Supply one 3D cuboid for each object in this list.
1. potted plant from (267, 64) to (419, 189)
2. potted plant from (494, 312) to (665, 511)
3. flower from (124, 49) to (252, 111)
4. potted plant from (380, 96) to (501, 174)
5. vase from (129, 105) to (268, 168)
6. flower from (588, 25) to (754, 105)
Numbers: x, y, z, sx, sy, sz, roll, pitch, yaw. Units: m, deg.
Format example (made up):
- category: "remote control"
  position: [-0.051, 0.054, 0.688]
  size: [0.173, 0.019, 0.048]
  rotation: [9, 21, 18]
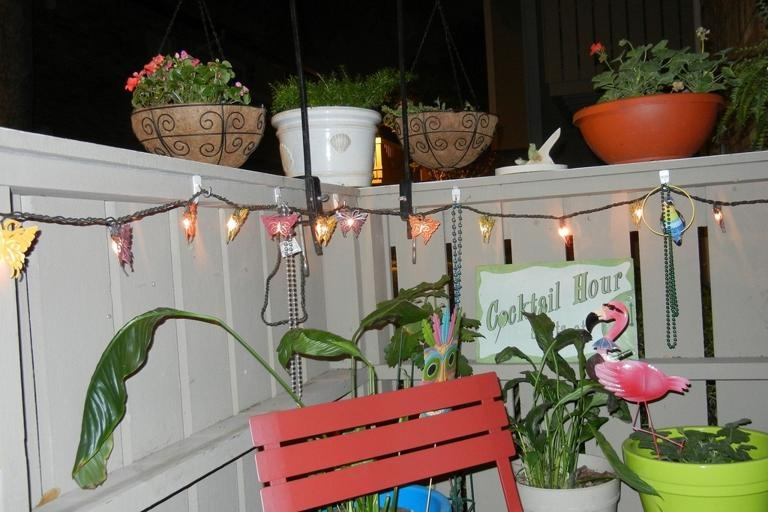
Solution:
- category: "potted plant"
  position: [-0.178, -0.493, 3.075]
  size: [0.453, 0.339, 0.463]
  rotation: [0, 0, 39]
- category: "potted plant"
  position: [0.751, 0.556, 3.234]
  size: [0.563, 0.986, 0.796]
  rotation: [-7, -11, 25]
- category: "flower"
  position: [-0.680, -0.600, 2.701]
  size: [0.402, 0.207, 0.252]
  rotation: [-5, 1, -15]
- category: "potted plant"
  position: [0.258, -0.482, 3.292]
  size: [0.468, 0.234, 0.458]
  rotation: [-8, 7, -40]
- category: "vase"
  position: [-0.648, -0.425, 2.852]
  size: [0.528, 0.234, 0.527]
  rotation: [-8, 10, -23]
- category: "flower"
  position: [1.111, -0.733, 3.046]
  size: [0.562, 0.229, 0.492]
  rotation: [3, 2, -11]
